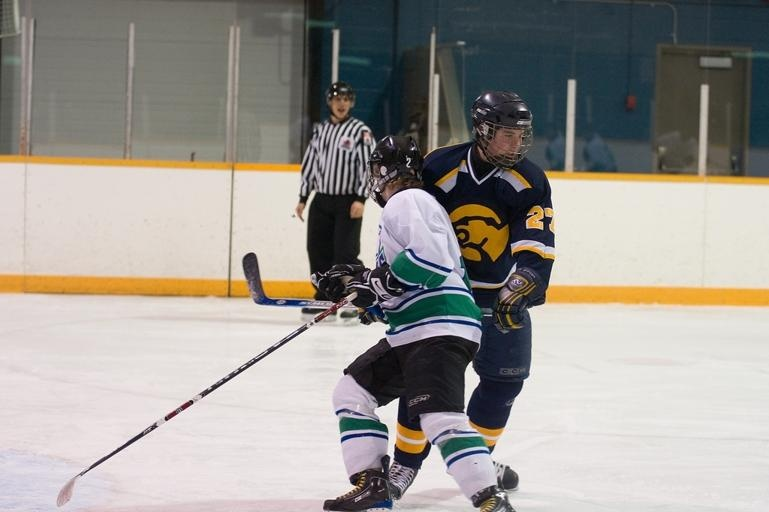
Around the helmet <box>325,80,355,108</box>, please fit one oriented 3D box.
[{"bbox_3d":[-0.343,-1.321,9.937,0.181,0.157,0.202,4,11,8],"label":"helmet"}]

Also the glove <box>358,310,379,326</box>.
[{"bbox_3d":[-0.088,0.351,7.046,0.102,0.091,0.073,-18,-3,-10],"label":"glove"}]

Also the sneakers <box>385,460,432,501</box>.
[{"bbox_3d":[0.127,1.240,6.965,0.288,0.093,0.111,-50,3,-42],"label":"sneakers"}]

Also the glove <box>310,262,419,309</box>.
[{"bbox_3d":[-0.125,0.164,6.863,0.441,0.168,0.263,-9,35,-8],"label":"glove"}]

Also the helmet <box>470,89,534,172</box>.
[{"bbox_3d":[0.717,-0.730,7.032,0.354,0.412,0.439,-9,18,-31],"label":"helmet"}]

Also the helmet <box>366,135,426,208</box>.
[{"bbox_3d":[-0.025,-0.492,6.910,0.335,0.386,0.392,-1,9,-17],"label":"helmet"}]

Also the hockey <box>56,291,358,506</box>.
[{"bbox_3d":[-1.121,0.939,7.786,2.322,0.164,0.226,-25,11,4],"label":"hockey"}]

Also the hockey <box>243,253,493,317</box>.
[{"bbox_3d":[-0.061,0.252,7.538,1.565,0.303,0.139,7,13,-19],"label":"hockey"}]
